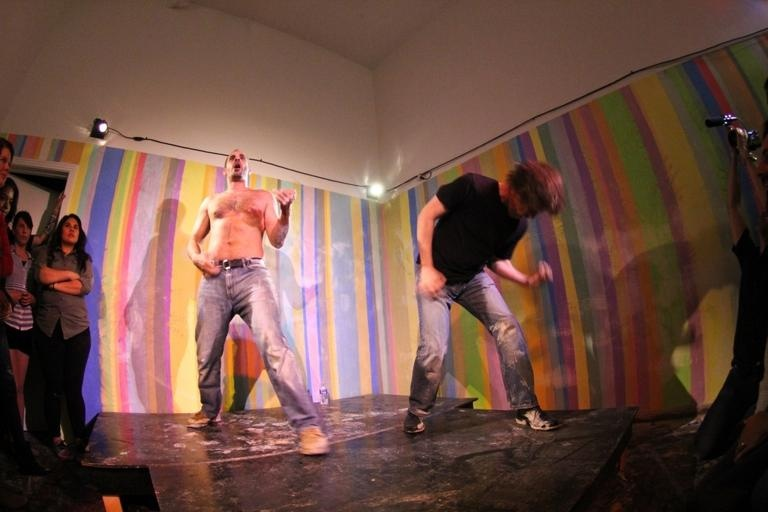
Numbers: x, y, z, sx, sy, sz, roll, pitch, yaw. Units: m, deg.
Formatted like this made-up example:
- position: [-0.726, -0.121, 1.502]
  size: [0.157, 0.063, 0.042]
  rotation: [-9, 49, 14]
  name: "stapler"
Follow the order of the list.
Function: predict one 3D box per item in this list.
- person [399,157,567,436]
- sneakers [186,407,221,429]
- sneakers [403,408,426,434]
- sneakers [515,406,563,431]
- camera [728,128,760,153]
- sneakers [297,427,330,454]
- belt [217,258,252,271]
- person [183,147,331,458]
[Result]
- position: [0.657, 0.268, 3.447]
  size: [1.003, 1.736, 0.680]
  rotation: [-1, 5, 19]
  name: "person"
- position: [-1.280, 1.176, 3.731]
  size: [0.111, 0.138, 0.285]
  rotation: [-16, -29, 41]
  name: "sneakers"
- position: [0.196, 1.082, 3.373]
  size: [0.146, 0.127, 0.142]
  rotation: [-2, 5, 1]
  name: "sneakers"
- position: [0.966, 1.032, 3.281]
  size: [0.110, 0.113, 0.233]
  rotation: [1, -11, -38]
  name: "sneakers"
- position: [2.268, -0.729, 3.256]
  size: [0.075, 0.123, 0.167]
  rotation: [-10, 37, -35]
  name: "camera"
- position: [-0.438, 1.121, 3.165]
  size: [0.167, 0.115, 0.210]
  rotation: [-4, 5, -11]
  name: "sneakers"
- position: [-1.070, 0.058, 3.685]
  size: [0.230, 0.072, 0.045]
  rotation: [-2, 5, 5]
  name: "belt"
- position: [-0.919, 0.218, 3.635]
  size: [1.342, 2.033, 0.744]
  rotation: [1, 6, 39]
  name: "person"
